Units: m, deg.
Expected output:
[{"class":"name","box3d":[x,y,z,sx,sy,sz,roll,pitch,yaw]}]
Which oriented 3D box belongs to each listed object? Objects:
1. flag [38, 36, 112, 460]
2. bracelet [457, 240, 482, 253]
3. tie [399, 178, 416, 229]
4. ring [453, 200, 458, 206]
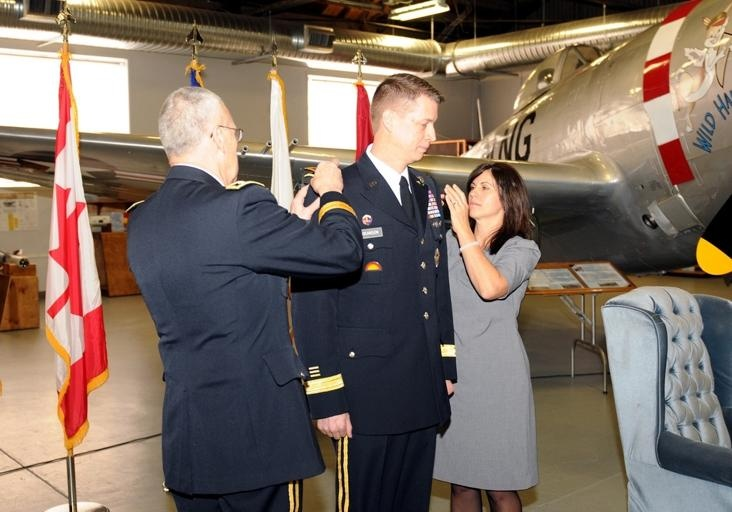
[{"class":"flag","box3d":[-1.536,-0.084,3.023,0.266,2.071,0.583,-5,8,-28]},{"class":"bracelet","box3d":[0.404,-0.039,2.342,0.050,0.014,0.051,-15,7,41]},{"class":"tie","box3d":[0.153,-0.204,2.249,0.041,0.202,0.052,-5,-31,-3]},{"class":"ring","box3d":[0.363,-0.215,2.367,0.016,0.025,0.016,1,5,0]}]
